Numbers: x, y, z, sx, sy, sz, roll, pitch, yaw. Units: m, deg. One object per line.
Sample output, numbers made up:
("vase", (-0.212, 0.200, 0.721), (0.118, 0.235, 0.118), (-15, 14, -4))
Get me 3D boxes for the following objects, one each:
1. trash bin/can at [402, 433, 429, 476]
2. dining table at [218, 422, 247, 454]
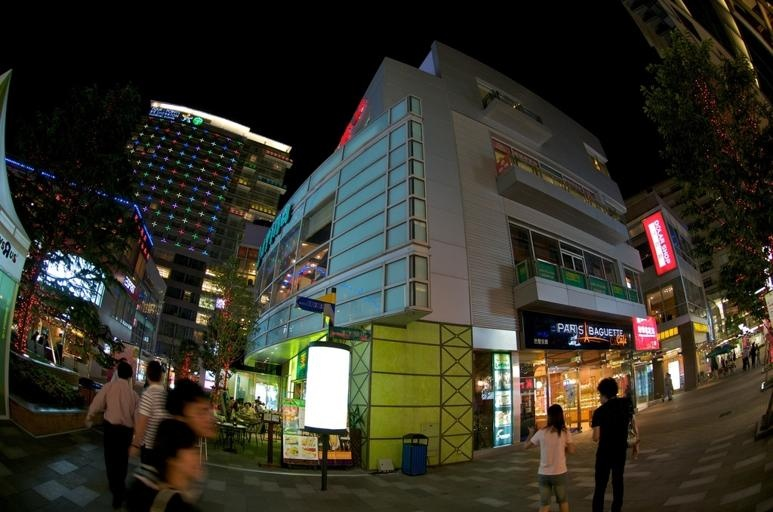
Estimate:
("trash bin/can", (1.126, 8.178, 19.667), (1.016, 1.639, 1.035), (1, -26, 0))
("dining table", (-6.877, 8.040, 21.067), (1.528, 1.095, 1.546), (-18, -30, 39))
